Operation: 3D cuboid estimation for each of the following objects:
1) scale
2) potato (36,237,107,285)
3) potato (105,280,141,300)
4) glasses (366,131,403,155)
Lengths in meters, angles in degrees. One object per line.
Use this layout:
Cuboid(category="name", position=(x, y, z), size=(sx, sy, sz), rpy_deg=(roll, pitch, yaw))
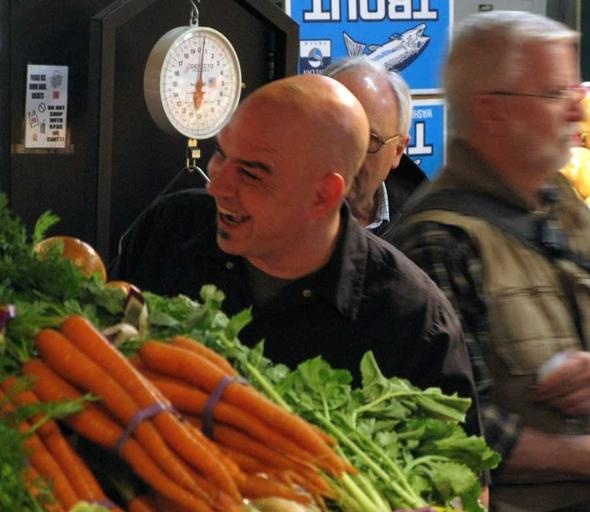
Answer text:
Cuboid(category="scale", position=(-0.480, -0.750, 2.991), size=(0.423, 1.360, 0.363), rpy_deg=(-12, 22, -35))
Cuboid(category="potato", position=(-0.403, 0.008, 1.268), size=(0.108, 0.078, 0.158), rpy_deg=(5, 3, 8))
Cuboid(category="potato", position=(-0.312, 0.057, 1.254), size=(0.040, 0.028, 0.044), rpy_deg=(15, -3, 2))
Cuboid(category="glasses", position=(0.312, -0.408, 2.430), size=(0.087, 0.035, 0.089), rpy_deg=(-8, 29, -32))
